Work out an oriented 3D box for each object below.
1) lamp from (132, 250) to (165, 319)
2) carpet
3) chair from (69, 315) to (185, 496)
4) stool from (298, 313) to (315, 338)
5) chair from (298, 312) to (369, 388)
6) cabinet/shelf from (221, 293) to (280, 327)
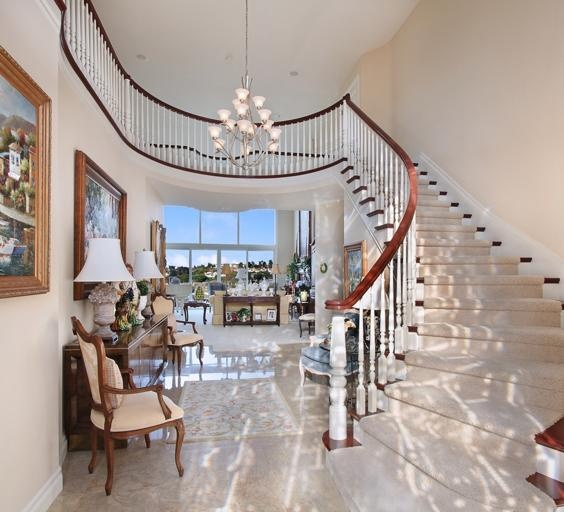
[{"bbox_3d":[-1.914,0.318,5.732,0.567,0.895,0.590,1,3,43],"label":"lamp"},{"bbox_3d":[-0.566,1.739,4.930,1.298,0.084,1.737,-1,4,-9],"label":"carpet"},{"bbox_3d":[-1.512,1.236,4.245,1.103,2.276,1.068,-1,2,-31],"label":"chair"},{"bbox_3d":[0.581,1.570,9.505,0.355,0.547,0.401,0,-3,-6],"label":"stool"},{"bbox_3d":[0.592,1.161,5.191,0.759,1.226,0.802,0,-4,-5],"label":"chair"},{"bbox_3d":[-0.752,1.347,10.510,1.436,0.786,0.415,-1,4,-8],"label":"cabinet/shelf"}]
